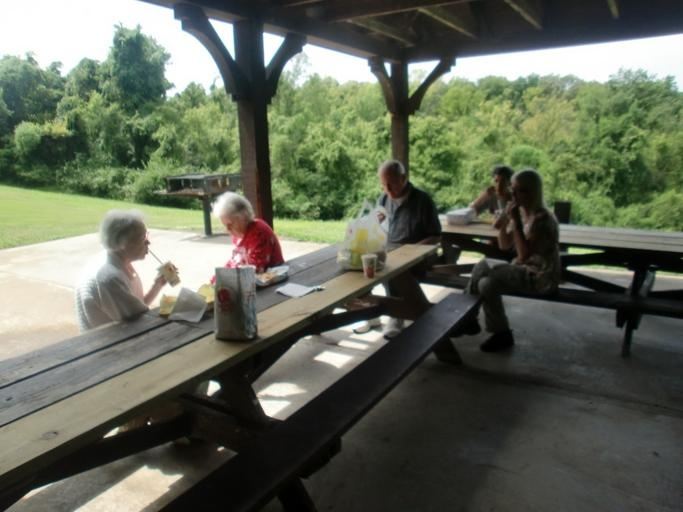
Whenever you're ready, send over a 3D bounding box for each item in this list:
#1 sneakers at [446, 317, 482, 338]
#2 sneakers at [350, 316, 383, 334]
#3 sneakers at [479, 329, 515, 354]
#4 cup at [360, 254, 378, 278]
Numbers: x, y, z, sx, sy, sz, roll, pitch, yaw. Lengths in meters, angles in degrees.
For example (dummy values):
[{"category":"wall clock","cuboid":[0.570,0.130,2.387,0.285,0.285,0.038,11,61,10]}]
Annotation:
[{"category":"sneakers","cuboid":[1.084,0.621,4.432,0.248,0.121,0.381,-14,4,8]},{"category":"sneakers","cuboid":[0.267,0.697,5.239,0.379,0.150,0.141,-18,6,-21]},{"category":"sneakers","cuboid":[1.383,0.747,4.613,0.333,0.258,0.143,2,6,2]},{"category":"cup","cuboid":[0.195,0.060,3.539,0.132,0.161,0.135,1,-3,0]}]
